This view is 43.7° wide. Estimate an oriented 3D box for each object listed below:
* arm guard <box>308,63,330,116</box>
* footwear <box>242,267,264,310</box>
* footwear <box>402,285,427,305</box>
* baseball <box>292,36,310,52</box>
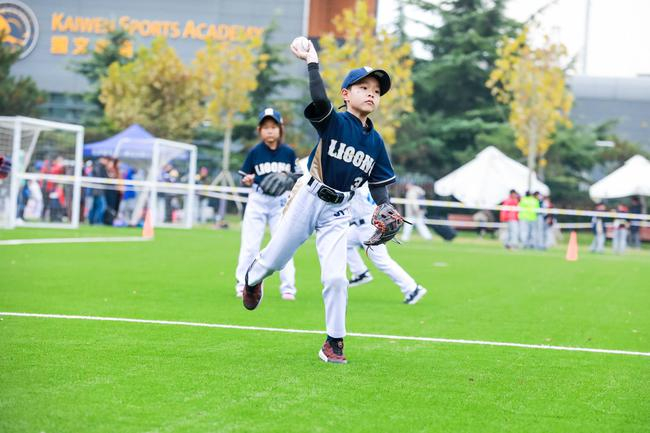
[{"bbox_3d":[-0.118,-1.697,10.984,0.249,0.872,0.202,-14,2,-4],"label":"arm guard"},{"bbox_3d":[-1.050,1.087,11.705,0.234,0.694,0.298,2,18,-2],"label":"footwear"},{"bbox_3d":[1.531,1.332,13.721,0.279,0.361,0.138,39,-3,-8],"label":"footwear"},{"bbox_3d":[-0.349,-2.358,11.010,0.216,0.219,0.165,-3,17,-32],"label":"baseball"}]
